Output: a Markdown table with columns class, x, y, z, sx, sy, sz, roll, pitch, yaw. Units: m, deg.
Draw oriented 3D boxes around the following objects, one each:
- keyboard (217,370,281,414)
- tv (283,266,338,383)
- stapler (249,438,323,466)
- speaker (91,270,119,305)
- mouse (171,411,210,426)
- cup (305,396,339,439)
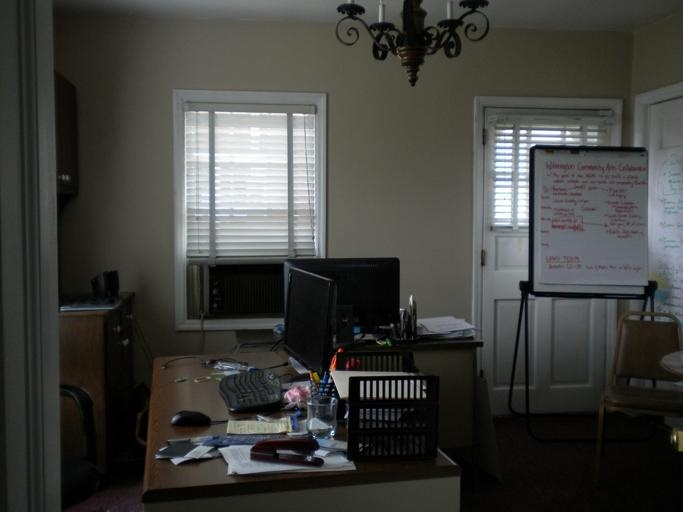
| class | x | y | z | sx | sy | sz | roll | pitch | yaw |
| --- | --- | --- | --- | --- | --- | --- | --- | --- | --- |
| keyboard | -0.396 | 0.548 | 2.689 | 0.253 | 0.090 | 0.384 | -11 | -35 | -3 |
| tv | -0.132 | 0.296 | 2.706 | 0.100 | 0.403 | 0.507 | 4 | 4 | -24 |
| stapler | -0.192 | 0.694 | 2.160 | 0.260 | 0.082 | 0.069 | -1 | 8 | -4 |
| speaker | -1.498 | 0.192 | 3.917 | 0.193 | 0.272 | 0.172 | -1 | 8 | -6 |
| mouse | -0.594 | 0.641 | 2.393 | 0.111 | 0.037 | 0.067 | 4 | 0 | -11 |
| cup | -0.071 | 0.634 | 2.395 | 0.121 | 0.142 | 0.131 | 1 | 0 | 0 |
